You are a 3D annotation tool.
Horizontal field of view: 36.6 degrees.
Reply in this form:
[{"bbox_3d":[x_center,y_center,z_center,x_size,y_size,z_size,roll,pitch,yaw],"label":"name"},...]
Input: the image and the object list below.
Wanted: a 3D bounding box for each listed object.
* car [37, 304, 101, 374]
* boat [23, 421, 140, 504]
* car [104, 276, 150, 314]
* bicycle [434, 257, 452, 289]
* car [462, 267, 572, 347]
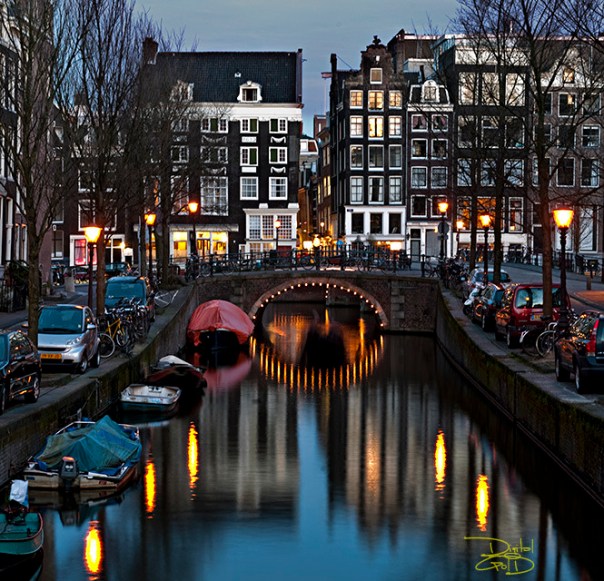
[{"bbox_3d":[-6.783,1.387,26.546,1.611,1.919,2.382,0,0,-13],"label":"car"},{"bbox_3d":[-4.402,3.505,18.947,1.506,1.364,3.362,0,0,16],"label":"boat"},{"bbox_3d":[-7.253,0.094,37.536,0.957,1.337,2.070,-1,-4,-4],"label":"car"},{"bbox_3d":[8.602,-1.051,54.957,0.949,1.864,7.072,0,0,9],"label":"bicycle"},{"bbox_3d":[7.119,0.664,31.434,1.239,1.531,3.692,-2,9,-5],"label":"car"}]
